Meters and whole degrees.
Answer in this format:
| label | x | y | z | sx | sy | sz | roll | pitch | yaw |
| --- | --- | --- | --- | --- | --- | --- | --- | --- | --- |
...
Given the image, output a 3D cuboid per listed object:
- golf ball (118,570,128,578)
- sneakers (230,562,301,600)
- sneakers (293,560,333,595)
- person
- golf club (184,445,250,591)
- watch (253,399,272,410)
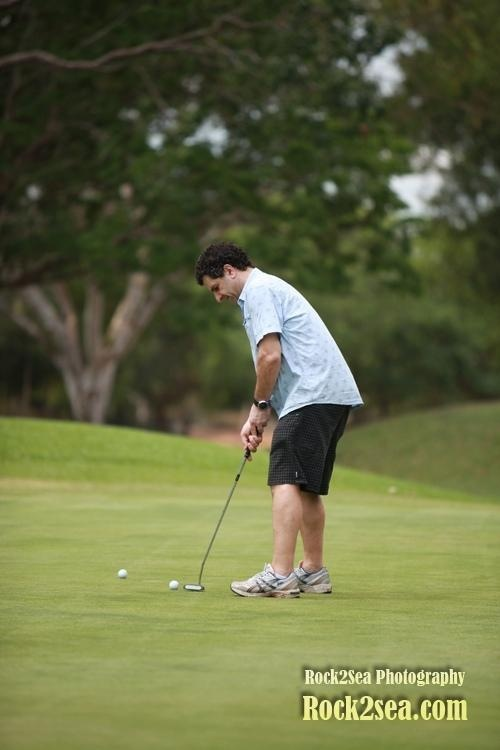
| label | x | y | z | sx | sy | sz | roll | pitch | yaw |
| --- | --- | --- | --- | --- | --- | --- | --- | --- | --- |
| golf ball | -0.466 | 0.722 | 3.314 | 0.022 | 0.025 | 0.024 | 41 | 5 | -5 |
| sneakers | 0.077 | 0.767 | 3.328 | 0.273 | 0.112 | 0.094 | 5 | -11 | -14 |
| sneakers | 0.236 | 0.781 | 3.462 | 0.071 | 0.076 | 0.175 | 0 | -1 | -21 |
| person | 0.192 | 0.240 | 3.487 | 0.486 | 1.144 | 0.803 | 0 | 23 | 3 |
| golf club | -0.113 | 0.591 | 3.928 | 0.136 | 0.662 | 0.075 | 29 | -15 | -29 |
| watch | 0.053 | 0.112 | 3.556 | 0.052 | 0.025 | 0.045 | 6 | -1 | -1 |
